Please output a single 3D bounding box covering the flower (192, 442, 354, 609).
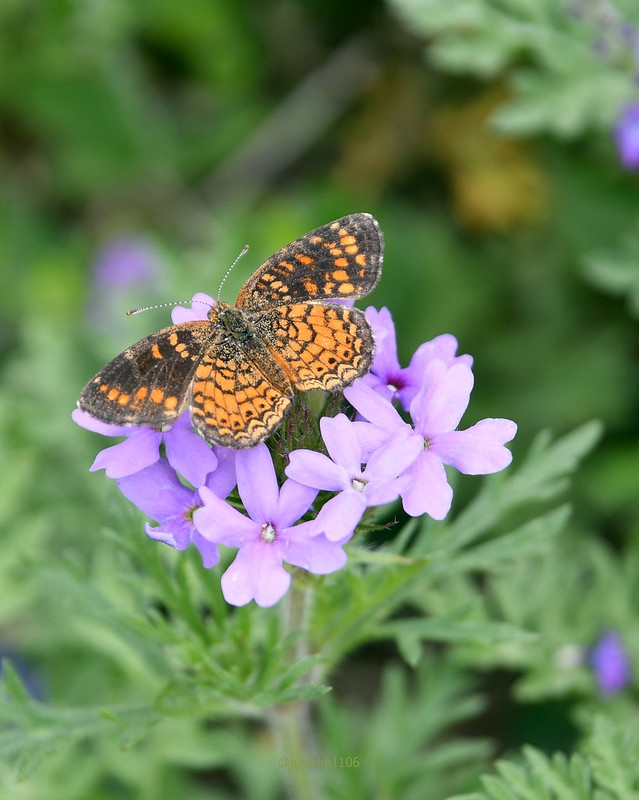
[{"bbox_3d":[-0.107,0.230,1.543,0.227,0.101,0.294,-22,82,-3],"label":"flower"}]
